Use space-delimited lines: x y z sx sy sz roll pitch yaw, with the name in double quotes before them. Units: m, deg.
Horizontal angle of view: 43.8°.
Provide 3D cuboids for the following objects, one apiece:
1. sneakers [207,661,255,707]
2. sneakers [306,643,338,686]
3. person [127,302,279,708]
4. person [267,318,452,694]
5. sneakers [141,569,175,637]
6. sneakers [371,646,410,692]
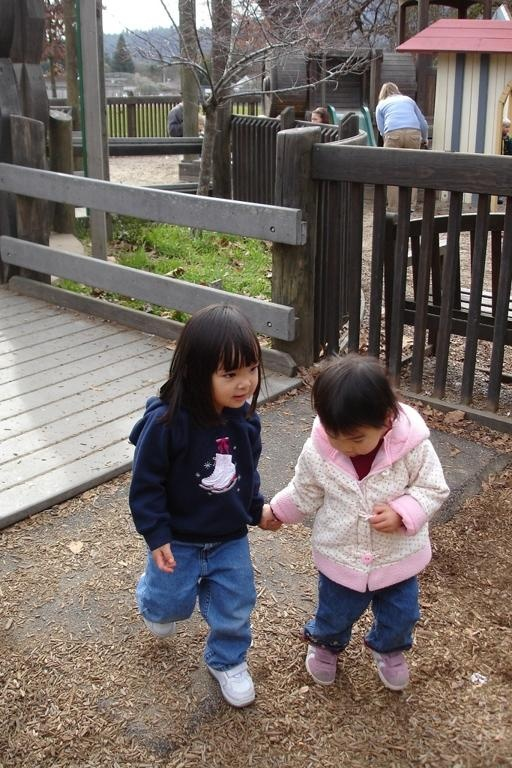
"sneakers" -0.064 0.750 1.626 0.052 0.057 0.135 -5 15 -35
"sneakers" 0.175 0.735 1.661 0.056 0.057 0.128 3 22 -3
"person" -0.152 0.297 1.556 0.336 0.988 0.279 -1 17 -1
"person" 0.226 0.351 1.543 0.439 0.846 0.267 2 17 18
"sneakers" -0.287 0.621 1.769 0.083 0.250 0.100 2 3 -20
"sneakers" 0.357 0.724 1.677 0.049 0.068 0.151 -5 24 -13
